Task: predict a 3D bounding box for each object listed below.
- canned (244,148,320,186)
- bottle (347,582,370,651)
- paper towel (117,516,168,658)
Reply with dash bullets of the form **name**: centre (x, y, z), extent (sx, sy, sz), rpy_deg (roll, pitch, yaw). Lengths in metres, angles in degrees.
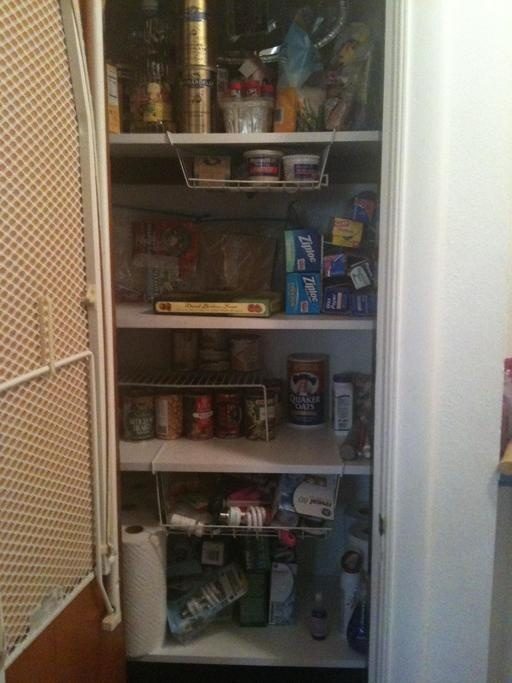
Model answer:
- **canned**: centre (0.062, -0.389, 1.442), extent (0.176, 0.083, 0.144), rpy_deg (-2, 15, 0)
- **bottle**: centre (0.235, 0.631, 1.483), extent (0.046, 0.194, 0.124), rpy_deg (-1, 15, 5)
- **paper towel**: centre (-0.259, 0.568, 1.513), extent (0.114, 0.307, 0.241), rpy_deg (-5, 15, -10)
